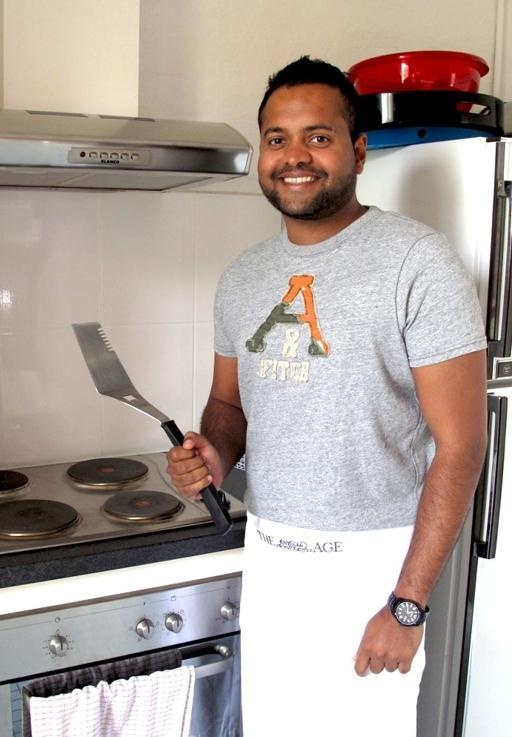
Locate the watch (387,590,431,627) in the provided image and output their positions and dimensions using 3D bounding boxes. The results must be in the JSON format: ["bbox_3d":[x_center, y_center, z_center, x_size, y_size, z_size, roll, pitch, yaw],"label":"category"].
[{"bbox_3d":[0.192,0.309,0.848,0.050,0.043,0.033,7,8,15],"label":"watch"}]
